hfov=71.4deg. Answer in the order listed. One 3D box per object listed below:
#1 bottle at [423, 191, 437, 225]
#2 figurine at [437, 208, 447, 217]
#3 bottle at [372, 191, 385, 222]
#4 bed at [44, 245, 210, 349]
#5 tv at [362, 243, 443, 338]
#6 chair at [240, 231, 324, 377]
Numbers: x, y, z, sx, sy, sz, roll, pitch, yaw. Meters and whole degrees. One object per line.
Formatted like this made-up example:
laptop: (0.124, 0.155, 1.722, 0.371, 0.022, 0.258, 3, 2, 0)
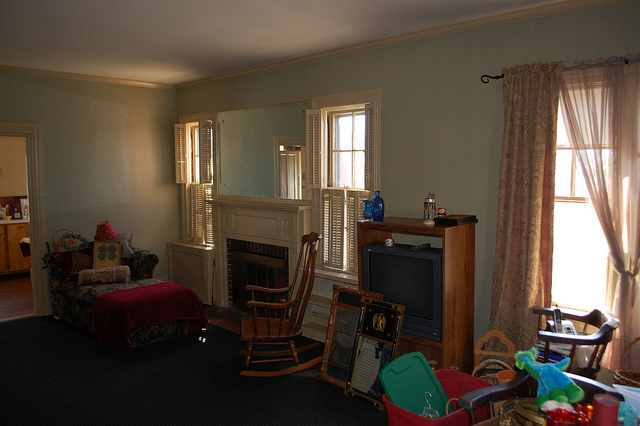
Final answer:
bottle: (1.101, -0.039, 4.472, 0.103, 0.276, 0.190, 1, 13, 9)
figurine: (1.217, -0.006, 4.468, 0.113, 0.112, 0.065, -2, -10, 18)
bottle: (0.632, -0.078, 4.828, 0.125, 0.301, 0.219, 1, 13, 6)
bed: (-2.713, 1.036, 6.135, 2.099, 0.911, 1.382, 6, 6, 39)
tv: (0.954, 0.771, 4.701, 0.914, 0.852, 0.534, 5, 8, 39)
chair: (-0.430, 1.059, 5.122, 1.128, 1.474, 1.061, 4, 5, 16)
